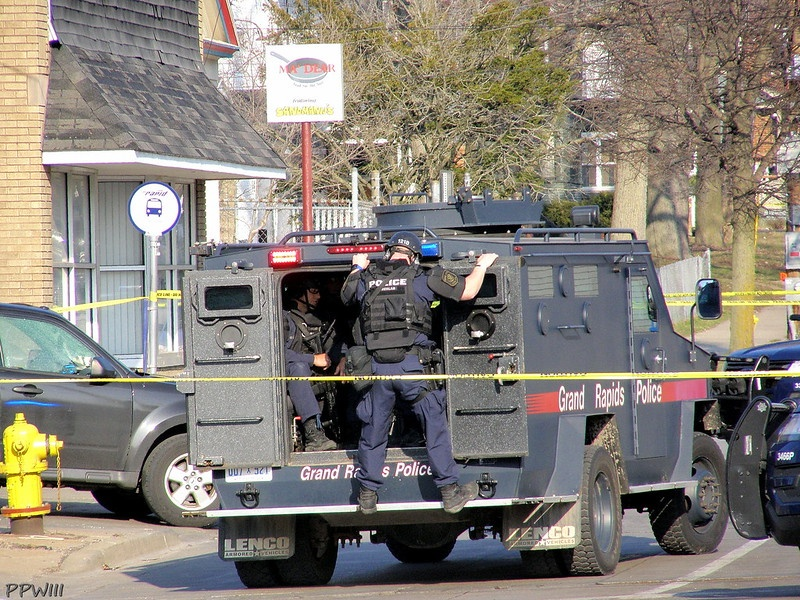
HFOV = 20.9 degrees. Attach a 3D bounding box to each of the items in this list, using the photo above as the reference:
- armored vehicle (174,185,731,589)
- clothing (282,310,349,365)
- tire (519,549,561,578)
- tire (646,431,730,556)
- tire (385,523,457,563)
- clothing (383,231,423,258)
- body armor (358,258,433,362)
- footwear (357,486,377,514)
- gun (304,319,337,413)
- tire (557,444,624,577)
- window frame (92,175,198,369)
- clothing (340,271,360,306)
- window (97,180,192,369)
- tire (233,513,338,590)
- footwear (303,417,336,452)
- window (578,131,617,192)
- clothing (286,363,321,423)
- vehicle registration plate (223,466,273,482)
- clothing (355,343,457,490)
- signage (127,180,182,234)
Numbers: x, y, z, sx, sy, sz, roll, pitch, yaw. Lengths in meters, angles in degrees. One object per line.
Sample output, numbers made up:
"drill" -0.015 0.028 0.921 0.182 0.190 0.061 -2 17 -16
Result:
"armored vehicle" 1.055 0.960 28.687 4.830 3.807 5.634 0 2 26
"clothing" -1.176 0.492 28.215 0.715 0.721 0.304 12 -33 -8
"tire" 1.772 3.299 27.578 0.389 0.391 0.386 -1 -1 -41
"tire" 3.746 2.519 28.642 0.680 1.694 1.521 -5 -7 41
"tire" 0.269 3.107 28.651 0.902 0.295 0.920 11 2 -13
"clothing" 0.059 -0.720 27.205 0.317 0.279 0.344 9 -8 12
"body armor" -0.061 0.055 27.346 0.954 1.223 0.827 -2 0 -8
"footwear" -0.407 2.448 27.068 0.257 0.321 0.201 -1 13 2
"gun" -1.096 0.802 28.444 0.262 1.283 0.463 -2 -12 27
"tire" 2.346 2.634 27.415 0.522 1.652 1.644 -4 -1 30
"window frame" -4.162 -0.425 34.959 0.148 3.607 3.229 0 1 39
"clothing" -0.547 -0.152 27.345 0.169 0.380 0.279 17 -7 -23
"window" -4.617 -0.451 36.776 0.101 2.981 2.754 -16 -6 16
"tire" -1.377 3.308 27.876 0.847 1.459 1.500 -3 -5 35
"footwear" -1.054 1.717 27.688 0.588 0.424 0.237 -3 -4 39
"window" 5.325 -3.396 58.518 0.986 1.716 1.844 -2 -18 7
"clothing" -1.243 1.157 27.799 0.429 0.700 0.246 -13 -6 12
"vehicle registration plate" -1.875 2.170 27.200 0.598 0.172 0.044 -1 13 2
"clothing" -0.008 1.544 27.168 1.165 0.579 1.773 3 38 -7
"signage" -3.752 -1.420 33.168 0.931 0.965 0.130 -4 0 -9
